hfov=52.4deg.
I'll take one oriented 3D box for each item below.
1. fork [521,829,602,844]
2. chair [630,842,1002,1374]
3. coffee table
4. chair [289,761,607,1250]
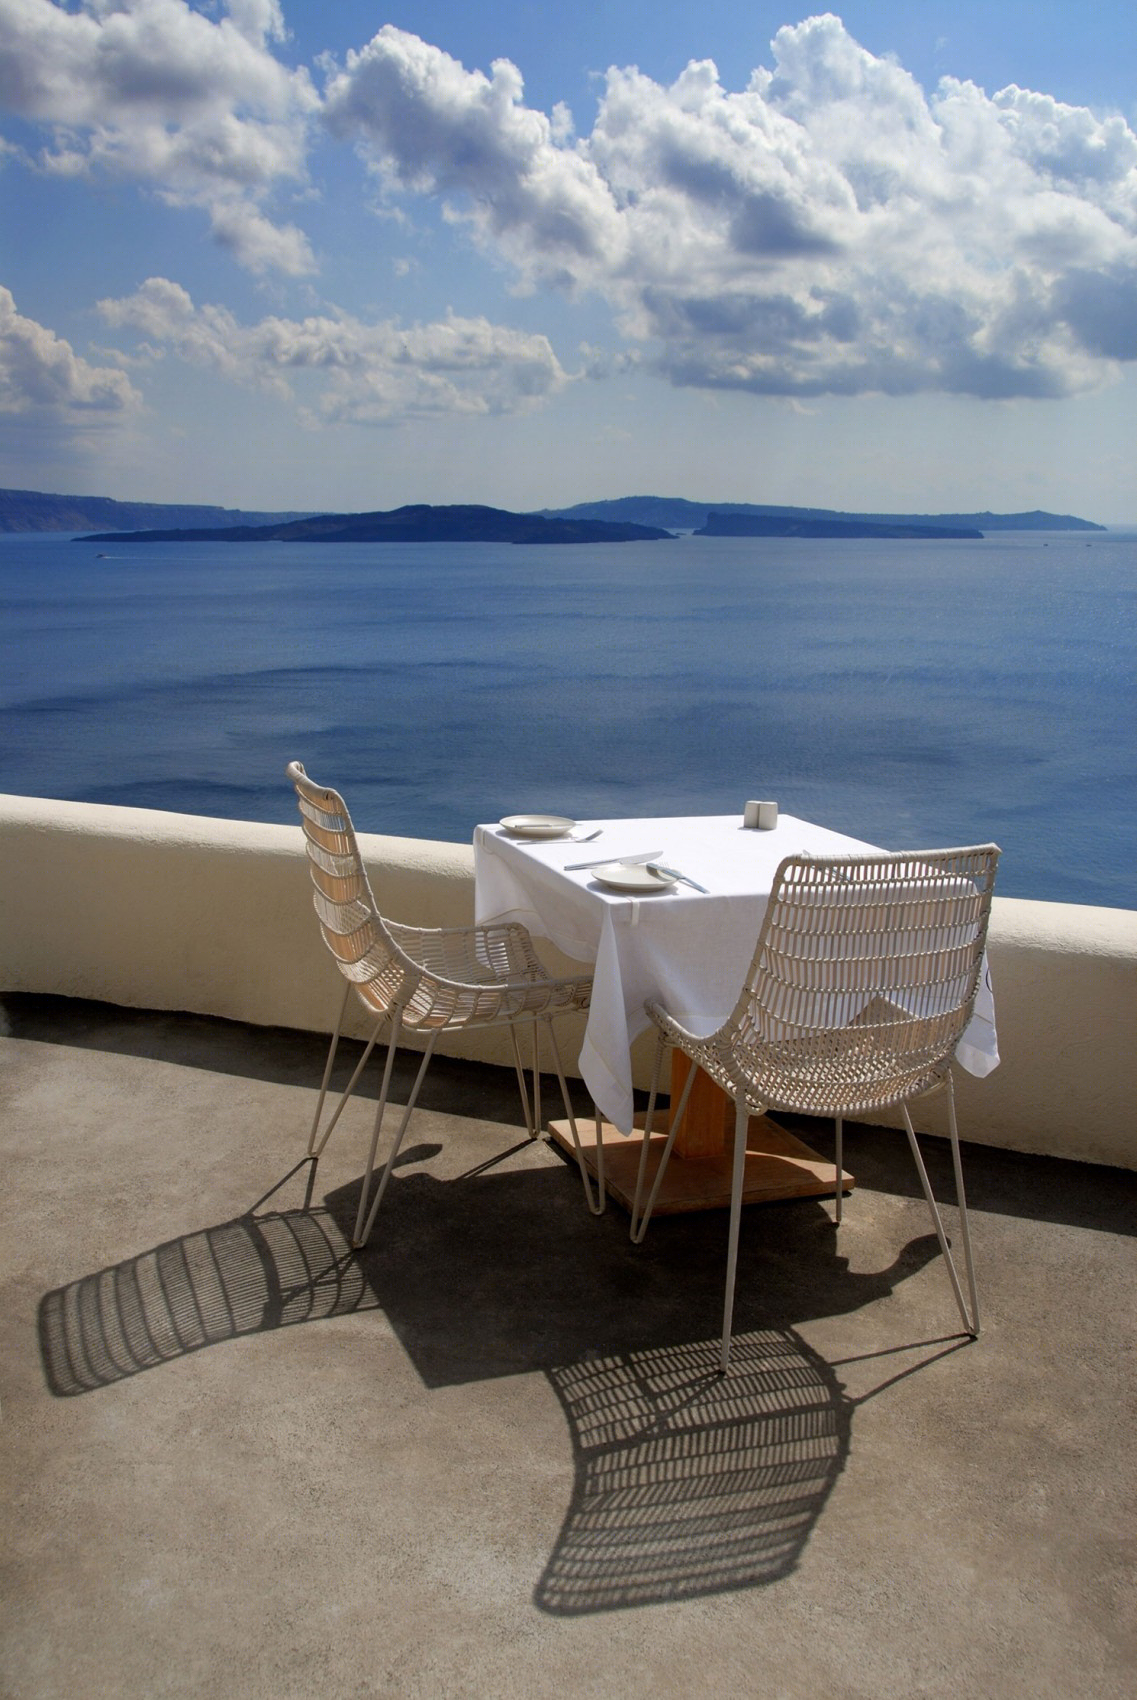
[{"bbox_3d":[-0.019,-0.028,2.317,0.140,0.029,0.017,-1,25,-13],"label":"fork"},{"bbox_3d":[0.382,0.323,1.881,0.569,0.803,0.600,11,16,36],"label":"chair"},{"bbox_3d":[0.300,0.319,2.357,0.951,0.751,1.065,2,14,-6],"label":"coffee table"},{"bbox_3d":[-0.214,0.301,2.263,0.619,0.893,0.577,-4,7,-37],"label":"chair"}]
